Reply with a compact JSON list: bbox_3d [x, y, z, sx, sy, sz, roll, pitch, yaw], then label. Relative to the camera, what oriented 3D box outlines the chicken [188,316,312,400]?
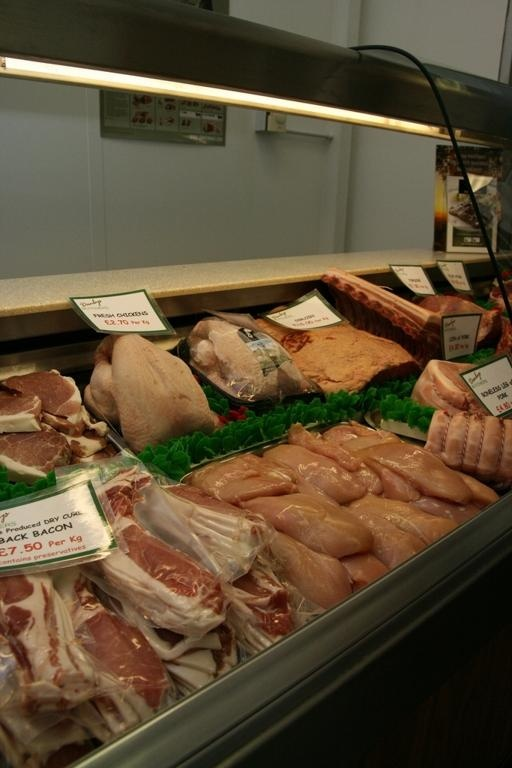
[{"bbox_3d":[-0.038,-0.084,1.564,0.302,0.124,0.429,-7,35,-28],"label":"chicken"}]
